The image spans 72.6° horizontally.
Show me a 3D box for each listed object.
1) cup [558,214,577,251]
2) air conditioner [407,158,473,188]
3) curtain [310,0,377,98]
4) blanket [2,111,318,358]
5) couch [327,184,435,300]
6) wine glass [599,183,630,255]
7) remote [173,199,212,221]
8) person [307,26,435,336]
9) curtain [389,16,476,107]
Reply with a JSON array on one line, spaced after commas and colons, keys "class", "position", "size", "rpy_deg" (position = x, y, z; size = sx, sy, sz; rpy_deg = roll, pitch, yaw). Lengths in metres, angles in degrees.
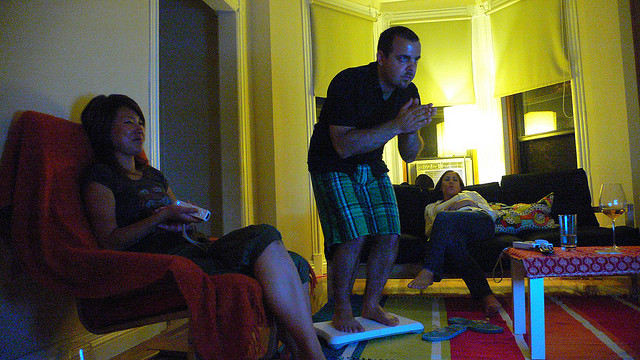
[{"class": "cup", "position": [1.744, 0.363, 3.043], "size": [0.100, 0.238, 0.164], "rpy_deg": [1, 4, 33]}, {"class": "air conditioner", "position": [1.608, 0.009, 5.824], "size": [0.826, 0.472, 0.411], "rpy_deg": [-3, -32, 9]}, {"class": "curtain", "position": [0.285, -1.568, 5.374], "size": [1.007, 1.134, 0.093], "rpy_deg": [-3, 4, -36]}, {"class": "blanket", "position": [-1.102, 0.276, 2.440], "size": [1.427, 1.354, 0.359], "rpy_deg": [0, 3, 13]}, {"class": "couch", "position": [0.618, 0.514, 4.397], "size": [0.884, 0.874, 1.125], "rpy_deg": [-1, -10, 7]}, {"class": "wine glass", "position": [2.036, 0.263, 3.030], "size": [0.217, 0.454, 0.200], "rpy_deg": [-5, -7, 28]}, {"class": "remote", "position": [-0.785, 0.167, 2.601], "size": [0.221, 0.047, 0.105], "rpy_deg": [18, -20, 6]}, {"class": "person", "position": [0.326, -0.002, 3.040], "size": [0.816, 2.064, 0.468], "rpy_deg": [-1, 3, -2]}, {"class": "curtain", "position": [1.610, -1.558, 5.739], "size": [0.860, 1.172, 0.201], "rpy_deg": [-1, 3, -2]}]
